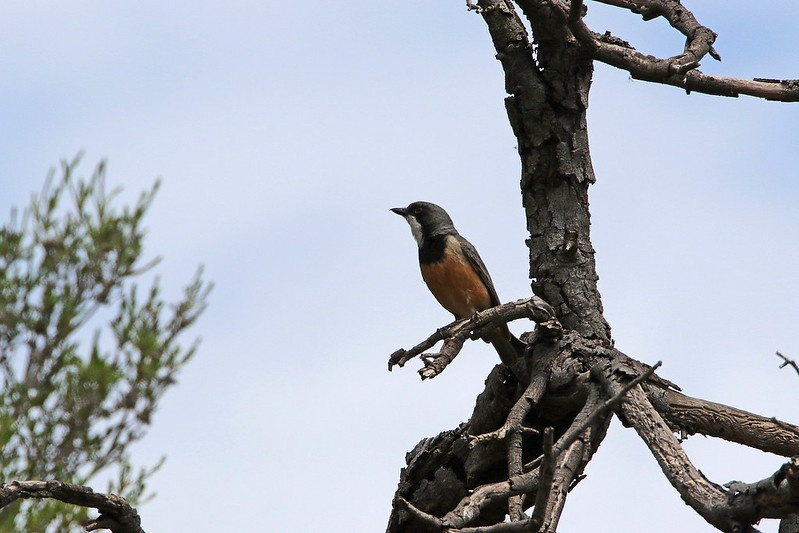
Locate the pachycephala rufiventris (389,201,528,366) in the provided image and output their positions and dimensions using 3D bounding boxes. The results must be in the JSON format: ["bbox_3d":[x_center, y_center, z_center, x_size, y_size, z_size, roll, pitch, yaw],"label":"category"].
[{"bbox_3d":[0.560,0.104,13.382,0.612,2.037,1.041,-30,-61,9],"label":"pachycephala rufiventris"}]
